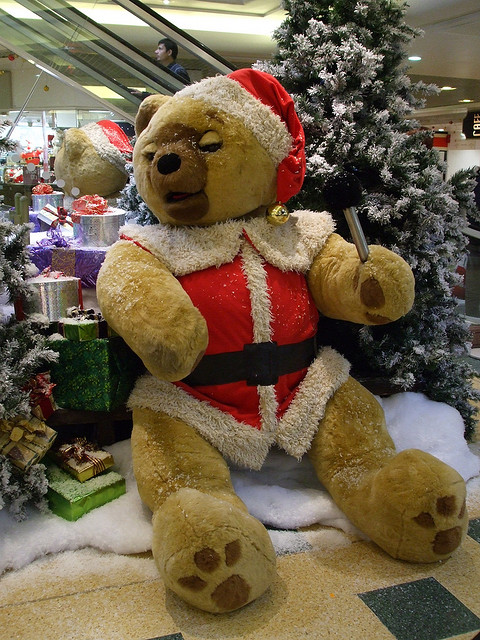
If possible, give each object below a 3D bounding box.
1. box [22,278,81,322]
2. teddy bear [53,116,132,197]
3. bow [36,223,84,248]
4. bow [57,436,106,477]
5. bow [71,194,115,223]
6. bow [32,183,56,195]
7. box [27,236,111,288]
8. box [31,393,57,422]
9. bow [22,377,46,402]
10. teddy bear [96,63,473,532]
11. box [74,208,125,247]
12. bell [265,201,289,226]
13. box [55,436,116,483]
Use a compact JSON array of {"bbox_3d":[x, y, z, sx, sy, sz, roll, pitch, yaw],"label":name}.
[{"bbox_3d":[-0.502,-0.065,1.455,0.186,0.101,0.128,-7,16,-31],"label":"box"},{"bbox_3d":[-0.650,-0.762,2.522,0.428,0.357,0.335,-2,3,-4],"label":"teddy bear"},{"bbox_3d":[-0.609,-0.280,1.859,0.129,0.053,0.124,-5,-10,4],"label":"bow"},{"bbox_3d":[-0.418,0.344,1.392,0.159,0.053,0.104,19,31,38],"label":"bow"},{"bbox_3d":[-0.550,-0.421,1.943,0.155,0.041,0.138,-5,41,-9],"label":"bow"},{"bbox_3d":[-0.880,-0.576,2.404,0.082,0.028,0.063,2,11,-2],"label":"bow"},{"bbox_3d":[-0.554,-0.187,1.705,0.220,0.115,0.199,-1,8,-6],"label":"box"},{"bbox_3d":[-0.499,0.220,1.350,0.047,0.055,0.082,30,7,4],"label":"box"},{"bbox_3d":[-0.513,0.177,1.331,0.051,0.018,0.057,13,51,-14],"label":"bow"},{"bbox_3d":[0.037,-0.065,1.275,0.723,1.085,0.783,-3,14,-14],"label":"teddy bear"},{"bbox_3d":[-0.471,-0.300,1.793,0.185,0.096,0.168,0,19,-3],"label":"box"},{"bbox_3d":[0.095,-0.272,1.419,0.060,0.061,0.058,18,-16,-41],"label":"bell"},{"bbox_3d":[-0.394,0.348,1.363,0.124,0.041,0.085,23,36,33],"label":"box"}]
